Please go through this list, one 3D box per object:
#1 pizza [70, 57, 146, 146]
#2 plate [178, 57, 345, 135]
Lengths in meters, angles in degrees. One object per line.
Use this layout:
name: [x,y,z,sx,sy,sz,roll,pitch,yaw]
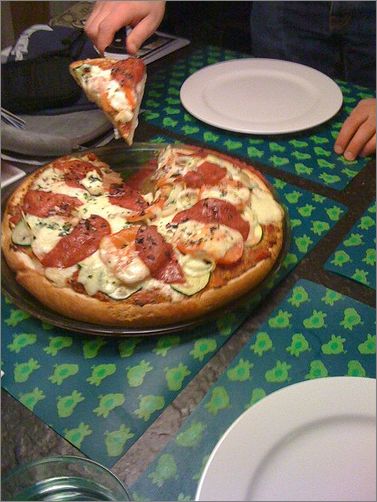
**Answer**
pizza: [-0.175,-0.373,1.021,0.209,0.066,0.194,-9,69,-2]
plate: [0.239,-0.512,1.427,0.481,0.167,0.501,18,34,33]
